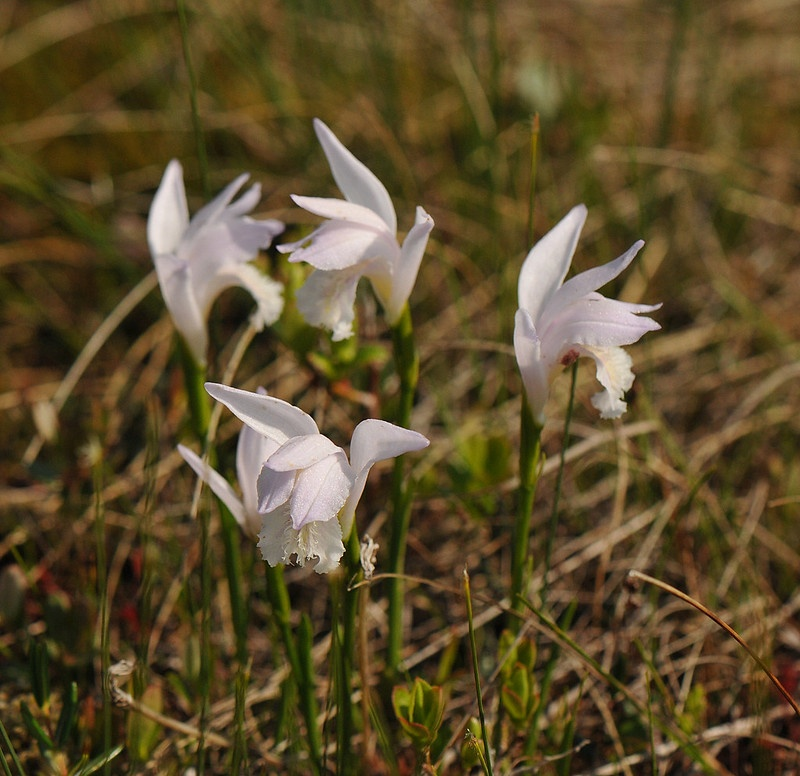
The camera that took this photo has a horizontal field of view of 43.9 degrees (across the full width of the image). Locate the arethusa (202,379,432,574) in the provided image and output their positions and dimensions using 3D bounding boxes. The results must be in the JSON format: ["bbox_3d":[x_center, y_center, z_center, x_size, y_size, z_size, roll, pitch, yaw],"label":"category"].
[{"bbox_3d":[-0.237,0.301,2.829,0.624,0.585,0.368,-6,23,-18],"label":"arethusa"}]

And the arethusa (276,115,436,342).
[{"bbox_3d":[-0.125,-0.458,3.149,0.347,0.656,0.578,-6,40,2],"label":"arethusa"}]
